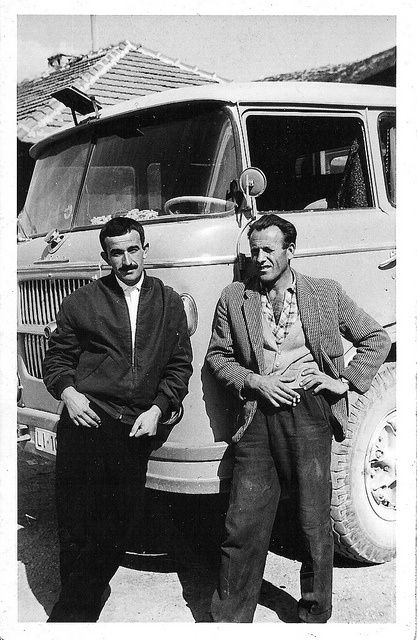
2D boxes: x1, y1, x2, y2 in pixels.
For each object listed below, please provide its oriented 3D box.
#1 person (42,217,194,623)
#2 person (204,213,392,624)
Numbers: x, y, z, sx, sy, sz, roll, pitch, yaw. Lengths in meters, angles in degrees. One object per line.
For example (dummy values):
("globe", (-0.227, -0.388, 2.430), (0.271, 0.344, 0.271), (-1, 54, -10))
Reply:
("person", (-0.391, 0.450, 2.721), (0.669, 1.708, 0.379), (-2, 12, -4))
("person", (0.346, 0.410, 2.635), (0.705, 1.612, 0.391), (-2, 12, -3))
